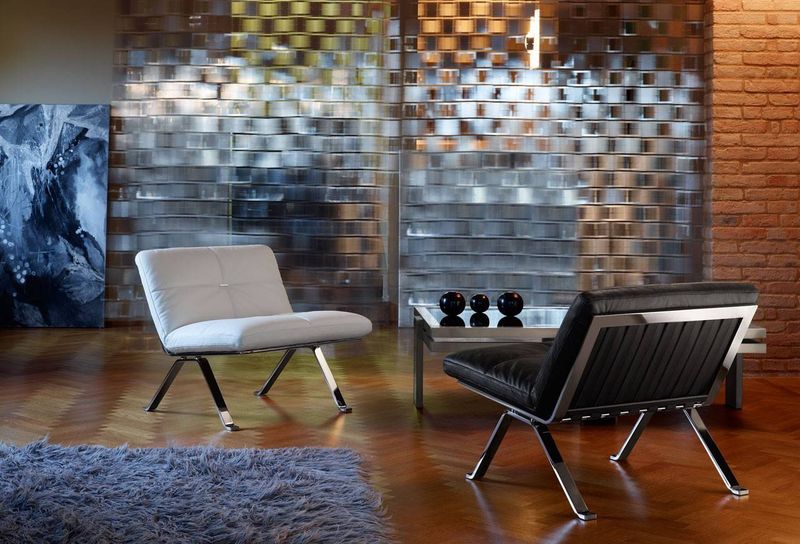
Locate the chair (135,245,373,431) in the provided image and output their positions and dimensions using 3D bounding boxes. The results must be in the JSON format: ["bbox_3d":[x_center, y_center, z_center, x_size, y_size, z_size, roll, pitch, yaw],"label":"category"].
[{"bbox_3d":[-0.939,0.309,4.417,1.030,0.711,1.019,14,15,35],"label":"chair"}]

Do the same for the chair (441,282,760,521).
[{"bbox_3d":[0.776,0.498,3.367,1.253,0.814,1.263,0,1,-27],"label":"chair"}]
